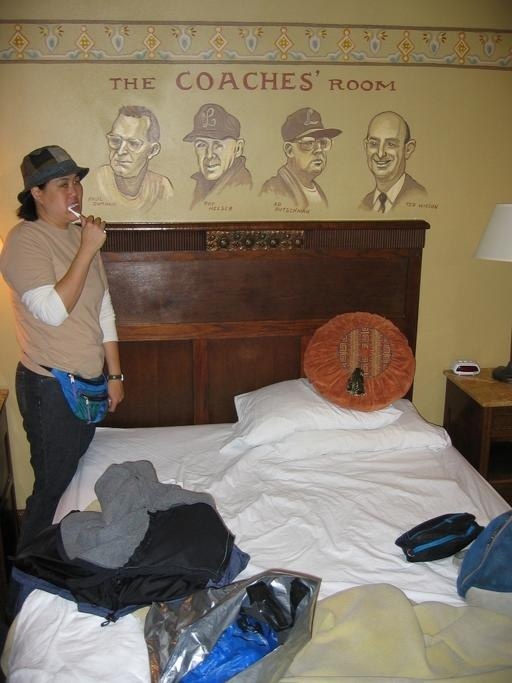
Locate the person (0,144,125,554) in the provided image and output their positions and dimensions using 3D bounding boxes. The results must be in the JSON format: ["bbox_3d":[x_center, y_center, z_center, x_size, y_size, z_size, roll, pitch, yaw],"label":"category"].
[{"bbox_3d":[-0.622,0.003,1.783,0.349,1.190,0.628,-4,22,-13],"label":"person"}]

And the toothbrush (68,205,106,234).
[{"bbox_3d":[-0.543,-0.396,1.770,0.103,0.086,0.260,-6,20,-18],"label":"toothbrush"}]

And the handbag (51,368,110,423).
[{"bbox_3d":[-0.545,0.176,1.795,0.179,0.099,0.171,31,3,17],"label":"handbag"}]

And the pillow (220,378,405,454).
[{"bbox_3d":[0.214,0.284,2.314,0.725,0.187,0.775,-1,11,5],"label":"pillow"}]

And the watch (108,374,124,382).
[{"bbox_3d":[-0.536,0.131,2.125,0.054,0.032,0.053,-1,3,9],"label":"watch"}]
